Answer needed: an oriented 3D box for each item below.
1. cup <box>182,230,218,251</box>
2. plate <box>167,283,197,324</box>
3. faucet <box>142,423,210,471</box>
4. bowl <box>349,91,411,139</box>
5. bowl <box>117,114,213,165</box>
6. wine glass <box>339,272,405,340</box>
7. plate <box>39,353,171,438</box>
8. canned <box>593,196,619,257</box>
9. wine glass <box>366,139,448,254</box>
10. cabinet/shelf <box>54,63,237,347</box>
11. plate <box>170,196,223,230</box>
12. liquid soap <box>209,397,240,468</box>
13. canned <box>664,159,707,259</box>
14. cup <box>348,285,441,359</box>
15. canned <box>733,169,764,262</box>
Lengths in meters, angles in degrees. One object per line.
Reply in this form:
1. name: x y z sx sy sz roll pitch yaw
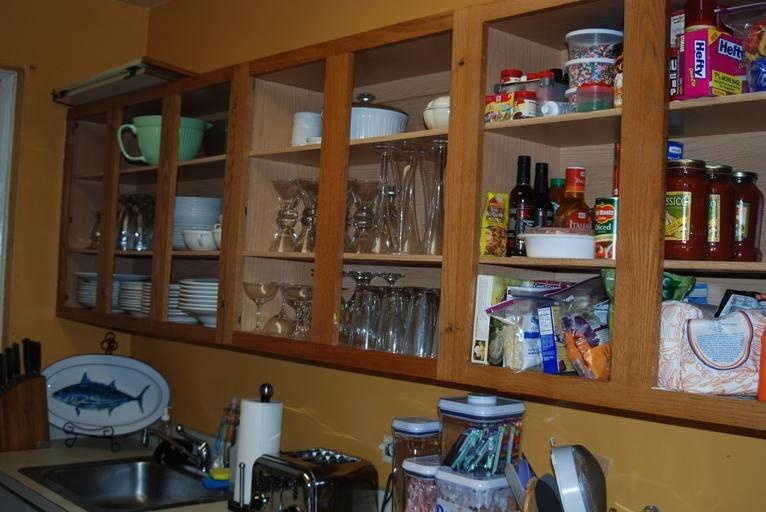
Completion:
1. cup: -0.757 -0.060 2.290 0.110 0.051 0.109 0 -6 0
2. plate: -0.866 0.200 2.329 0.158 0.146 0.155 3 -3 -43
3. faucet: -0.895 0.844 2.438 0.249 0.127 0.179 13 3 43
4. bowl: -0.010 -0.443 1.805 0.178 0.089 0.143 3 -5 -29
5. bowl: -0.982 -0.511 2.463 0.404 0.169 0.266 -3 -4 -4
6. wine glass: -0.066 0.183 1.929 0.213 0.267 0.230 5 -5 22
7. plate: -1.340 0.685 2.673 0.515 0.302 0.022 2 -14 -16
8. canned: 0.543 -0.066 1.353 0.036 0.152 0.089 1 0 -19
9. wine glass: 0.080 -0.178 1.697 0.130 0.303 0.355 -1 4 -39
10. cabinet/shelf: -1.013 -0.210 2.623 1.310 1.065 0.403 2 -2 33
11. plate: -0.764 -0.165 2.311 0.160 0.113 0.173 5 -6 -37
12. liquid soap: -0.640 0.747 2.274 0.109 0.194 0.278 1 0 -16
13. canned: 0.699 -0.104 1.278 0.103 0.228 0.037 1 0 -11
14. cup: 0.030 0.195 1.706 0.329 0.192 0.093 0 0 43
15. canned: 0.843 -0.095 1.298 0.054 0.216 0.101 0 -1 37
